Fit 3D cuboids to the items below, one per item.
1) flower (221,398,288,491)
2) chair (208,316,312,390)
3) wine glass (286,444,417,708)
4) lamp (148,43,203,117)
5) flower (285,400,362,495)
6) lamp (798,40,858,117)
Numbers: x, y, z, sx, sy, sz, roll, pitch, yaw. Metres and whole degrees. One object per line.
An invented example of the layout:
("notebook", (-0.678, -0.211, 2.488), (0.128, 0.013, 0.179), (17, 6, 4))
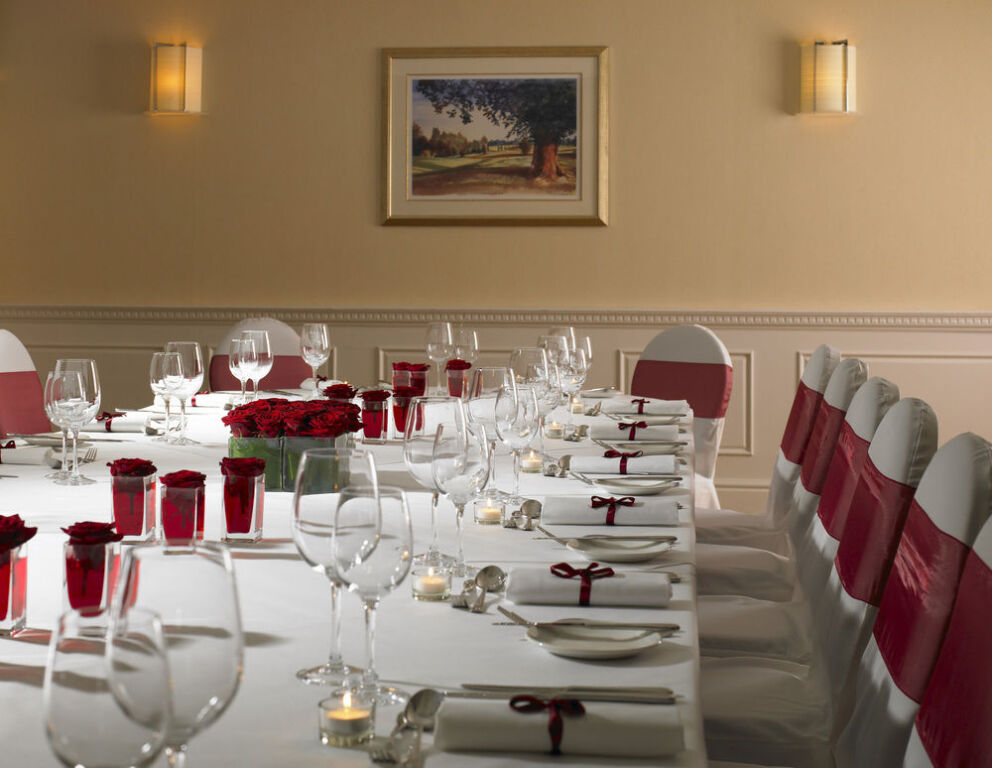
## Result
("flower", (-0.440, 0.117, 1.665), (0.135, 0.157, 0.140), (-1, 0, -10))
("chair", (-1.048, -0.116, 3.908), (0.369, 0.401, 0.400), (1, -7, -5))
("wine glass", (-0.186, 0.202, 1.011), (0.095, 0.250, 0.234), (-3, 14, -12))
("lamp", (-1.776, -1.664, 4.870), (0.316, 0.406, 0.345), (-1, -9, -6))
("flower", (-0.326, 0.097, 1.588), (0.183, 0.212, 0.174), (1, -5, -11))
("lamp", (1.795, -1.669, 4.743), (0.272, 0.350, 0.288), (-6, 16, -9))
